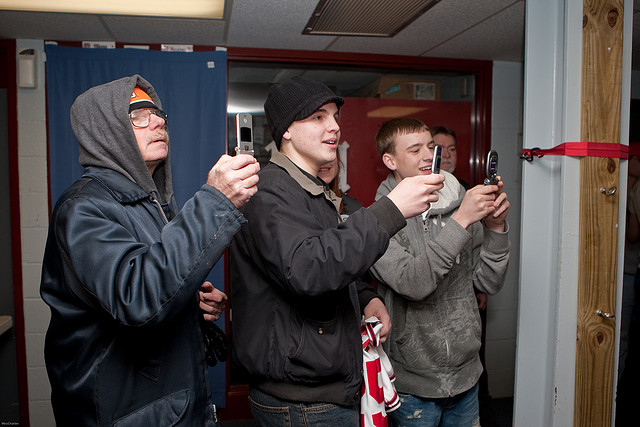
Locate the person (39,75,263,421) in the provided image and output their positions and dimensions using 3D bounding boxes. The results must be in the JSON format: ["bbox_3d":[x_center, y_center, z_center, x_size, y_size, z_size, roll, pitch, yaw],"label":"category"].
[{"bbox_3d":[-0.698,0.142,1.883,0.811,1.415,0.485,1,6,36],"label":"person"}]

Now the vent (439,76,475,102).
[{"bbox_3d":[1.160,-1.058,4.121,0.239,0.236,0.060,2,4,-4],"label":"vent"}]

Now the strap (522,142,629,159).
[{"bbox_3d":[1.154,-0.275,2.153,0.403,0.086,0.087,-4,5,-4],"label":"strap"}]

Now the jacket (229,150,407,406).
[{"bbox_3d":[-0.022,0.275,2.266,0.711,1.049,0.840,3,-4,15],"label":"jacket"}]
